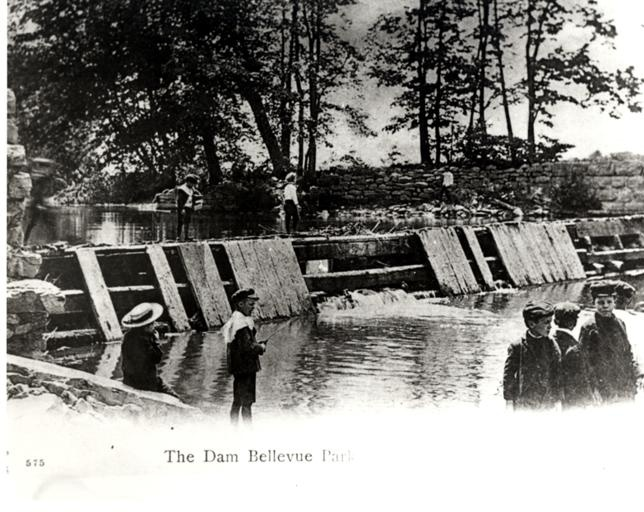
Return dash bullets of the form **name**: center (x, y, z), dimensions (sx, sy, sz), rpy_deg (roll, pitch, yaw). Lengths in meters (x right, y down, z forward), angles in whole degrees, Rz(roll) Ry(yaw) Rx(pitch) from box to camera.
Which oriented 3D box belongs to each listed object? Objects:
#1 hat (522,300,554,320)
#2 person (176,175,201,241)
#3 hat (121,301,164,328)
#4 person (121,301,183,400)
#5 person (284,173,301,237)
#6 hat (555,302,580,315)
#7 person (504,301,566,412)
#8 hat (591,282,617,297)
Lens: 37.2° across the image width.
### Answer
- **hat**: center (2.706, 0.704, 12.002), dimensions (0.270, 0.246, 0.253), rpy_deg (-10, 23, 0)
- **person**: center (-2.041, -0.759, 14.398), dimensions (0.363, 0.970, 0.697), rpy_deg (-2, 3, -8)
- **hat**: center (-2.146, 0.755, 11.331), dimensions (0.386, 0.107, 0.395), rpy_deg (-21, 28, -10)
- **person**: center (-2.102, 1.239, 11.757), dimensions (0.690, 1.392, 0.518), rpy_deg (-9, 25, -30)
- **person**: center (-0.512, -0.832, 15.218), dimensions (0.243, 0.969, 0.606), rpy_deg (-2, 3, -3)
- **hat**: center (3.096, 0.658, 12.139), dimensions (0.320, 0.133, 0.228), rpy_deg (0, 4, 24)
- **person**: center (2.706, 1.280, 12.223), dimensions (0.748, 1.435, 0.692), rpy_deg (-1, 3, 6)
- **hat**: center (3.786, 0.450, 12.792), dimensions (0.360, 0.202, 0.281), rpy_deg (-1, 3, 6)
